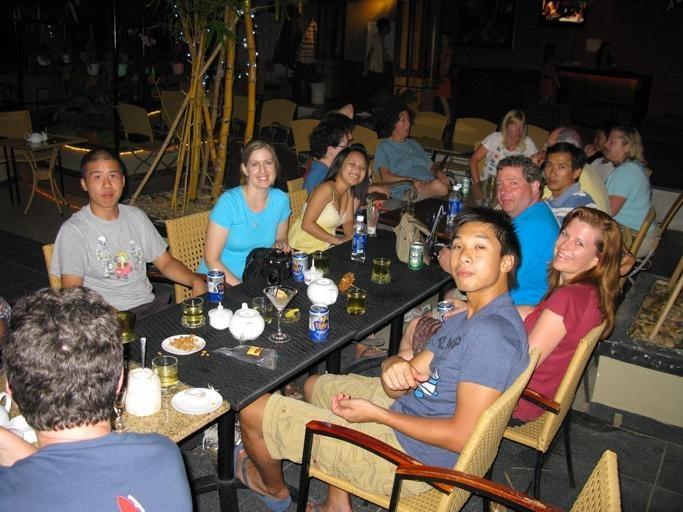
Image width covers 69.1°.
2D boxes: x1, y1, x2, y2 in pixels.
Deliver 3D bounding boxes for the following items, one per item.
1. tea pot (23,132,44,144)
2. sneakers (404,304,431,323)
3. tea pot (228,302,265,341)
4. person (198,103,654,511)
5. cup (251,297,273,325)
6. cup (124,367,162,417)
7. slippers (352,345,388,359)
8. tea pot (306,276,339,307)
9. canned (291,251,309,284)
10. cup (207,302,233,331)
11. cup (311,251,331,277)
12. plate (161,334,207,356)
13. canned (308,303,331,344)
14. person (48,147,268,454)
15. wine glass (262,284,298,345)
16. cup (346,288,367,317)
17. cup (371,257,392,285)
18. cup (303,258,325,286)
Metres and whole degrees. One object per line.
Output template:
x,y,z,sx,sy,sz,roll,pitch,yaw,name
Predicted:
-4.439,-1.682,7.163,0.248,0.129,0.201,19,22,39,tea pot
0.651,0.499,4.435,0.159,0.128,0.427,-14,-5,-19,sneakers
-0.532,0.366,2.784,0.186,0.157,0.236,-3,14,-16,tea pot
0.624,0.305,3.411,1.510,0.877,3.510,16,35,23,person
-0.453,0.299,2.896,0.132,0.149,0.142,1,19,0,cup
-0.881,0.603,2.211,0.162,0.153,0.161,1,3,0,cup
0.251,0.835,4.403,0.310,0.122,0.111,0,10,10,slippers
-0.125,0.204,3.112,0.144,0.120,0.179,-15,30,-42,tea pot
-0.287,0.082,3.398,0.125,0.192,0.128,8,29,9,canned
-0.685,0.345,2.865,0.143,0.147,0.141,4,31,-2,cup
-0.124,0.042,3.540,0.141,0.162,0.153,0,26,0,cup
-0.830,0.455,2.592,0.127,0.037,0.124,-5,25,-26,plate
-0.126,0.372,2.789,0.153,0.192,0.155,15,19,41,canned
-1.311,0.064,3.442,1.123,1.488,1.102,22,32,15,person
-0.353,0.324,2.845,0.257,0.311,0.266,-2,9,-27,wine glass
0.096,0.282,3.116,0.141,0.151,0.139,3,14,-1,cup
0.280,0.088,3.496,0.161,0.175,0.168,2,13,-1,cup
-0.195,0.102,3.402,0.123,0.152,0.166,2,29,-5,cup
